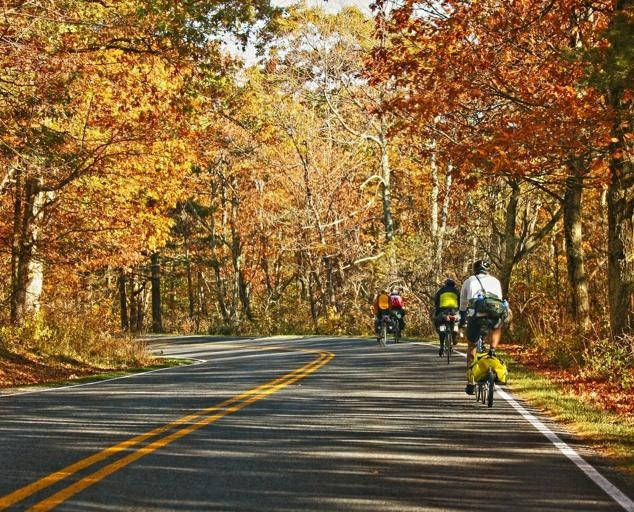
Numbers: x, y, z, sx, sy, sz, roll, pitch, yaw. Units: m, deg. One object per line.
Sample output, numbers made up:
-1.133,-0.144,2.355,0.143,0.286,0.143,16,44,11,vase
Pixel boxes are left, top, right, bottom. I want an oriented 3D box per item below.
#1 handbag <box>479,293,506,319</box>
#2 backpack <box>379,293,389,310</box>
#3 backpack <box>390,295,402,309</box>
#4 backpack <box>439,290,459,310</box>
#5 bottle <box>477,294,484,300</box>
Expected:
3.065,0.873,16.515,0.414,0.391,0.212,4,-15,-27,handbag
2.237,1.495,31.498,0.458,0.306,0.551,5,-31,4,backpack
2.705,1.479,32.071,0.408,0.418,0.705,-1,-10,3,backpack
3.364,1.078,23.891,0.422,0.394,0.411,2,-2,-26,backpack
2.878,0.707,16.598,0.091,0.093,0.163,-11,16,38,bottle
